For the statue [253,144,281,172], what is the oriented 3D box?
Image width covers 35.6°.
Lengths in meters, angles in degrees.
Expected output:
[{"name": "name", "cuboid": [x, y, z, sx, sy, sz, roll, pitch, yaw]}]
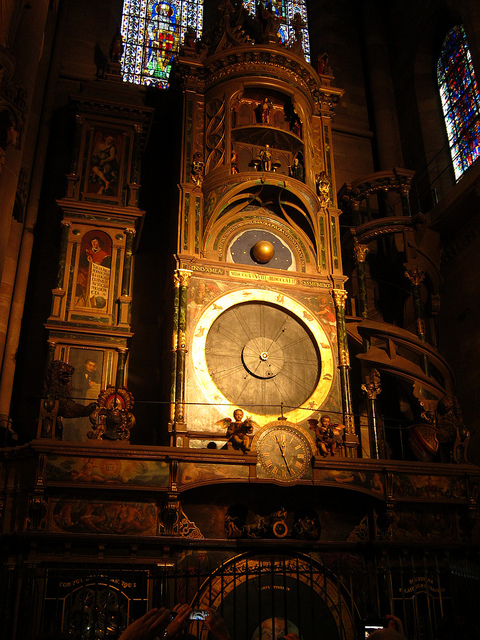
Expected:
[{"name": "statue", "cuboid": [0.598, -3.527, 16.319, 0.596, 0.779, 0.403, 1, -14, -3]}]

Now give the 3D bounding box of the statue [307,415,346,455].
[{"name": "statue", "cuboid": [1.488, 2.007, 13.098, 0.668, 0.656, 0.531, 3, 0, -3]}]

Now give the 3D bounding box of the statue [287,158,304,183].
[{"name": "statue", "cuboid": [1.278, -3.352, 16.712, 0.214, 0.706, 0.428, 8, -16, -27]}]

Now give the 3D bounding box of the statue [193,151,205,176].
[{"name": "statue", "cuboid": [-0.867, -3.296, 15.777, 0.228, 0.616, 0.183, 5, -15, -18]}]

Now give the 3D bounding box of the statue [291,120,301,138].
[{"name": "statue", "cuboid": [1.294, -4.361, 17.083, 0.082, 0.519, 0.278, 12, -18, -37]}]

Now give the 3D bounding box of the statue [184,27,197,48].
[{"name": "statue", "cuboid": [-1.126, -6.407, 16.951, 0.237, 0.730, 0.326, 1, -14, -4]}]

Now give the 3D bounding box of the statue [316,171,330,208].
[{"name": "statue", "cuboid": [1.861, -2.862, 16.456, 0.337, 0.955, 0.267, 3, -15, -9]}]

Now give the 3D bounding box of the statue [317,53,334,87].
[{"name": "statue", "cuboid": [2.065, -6.005, 18.036, 0.343, 1.188, 0.635, -1, -14, 6]}]
